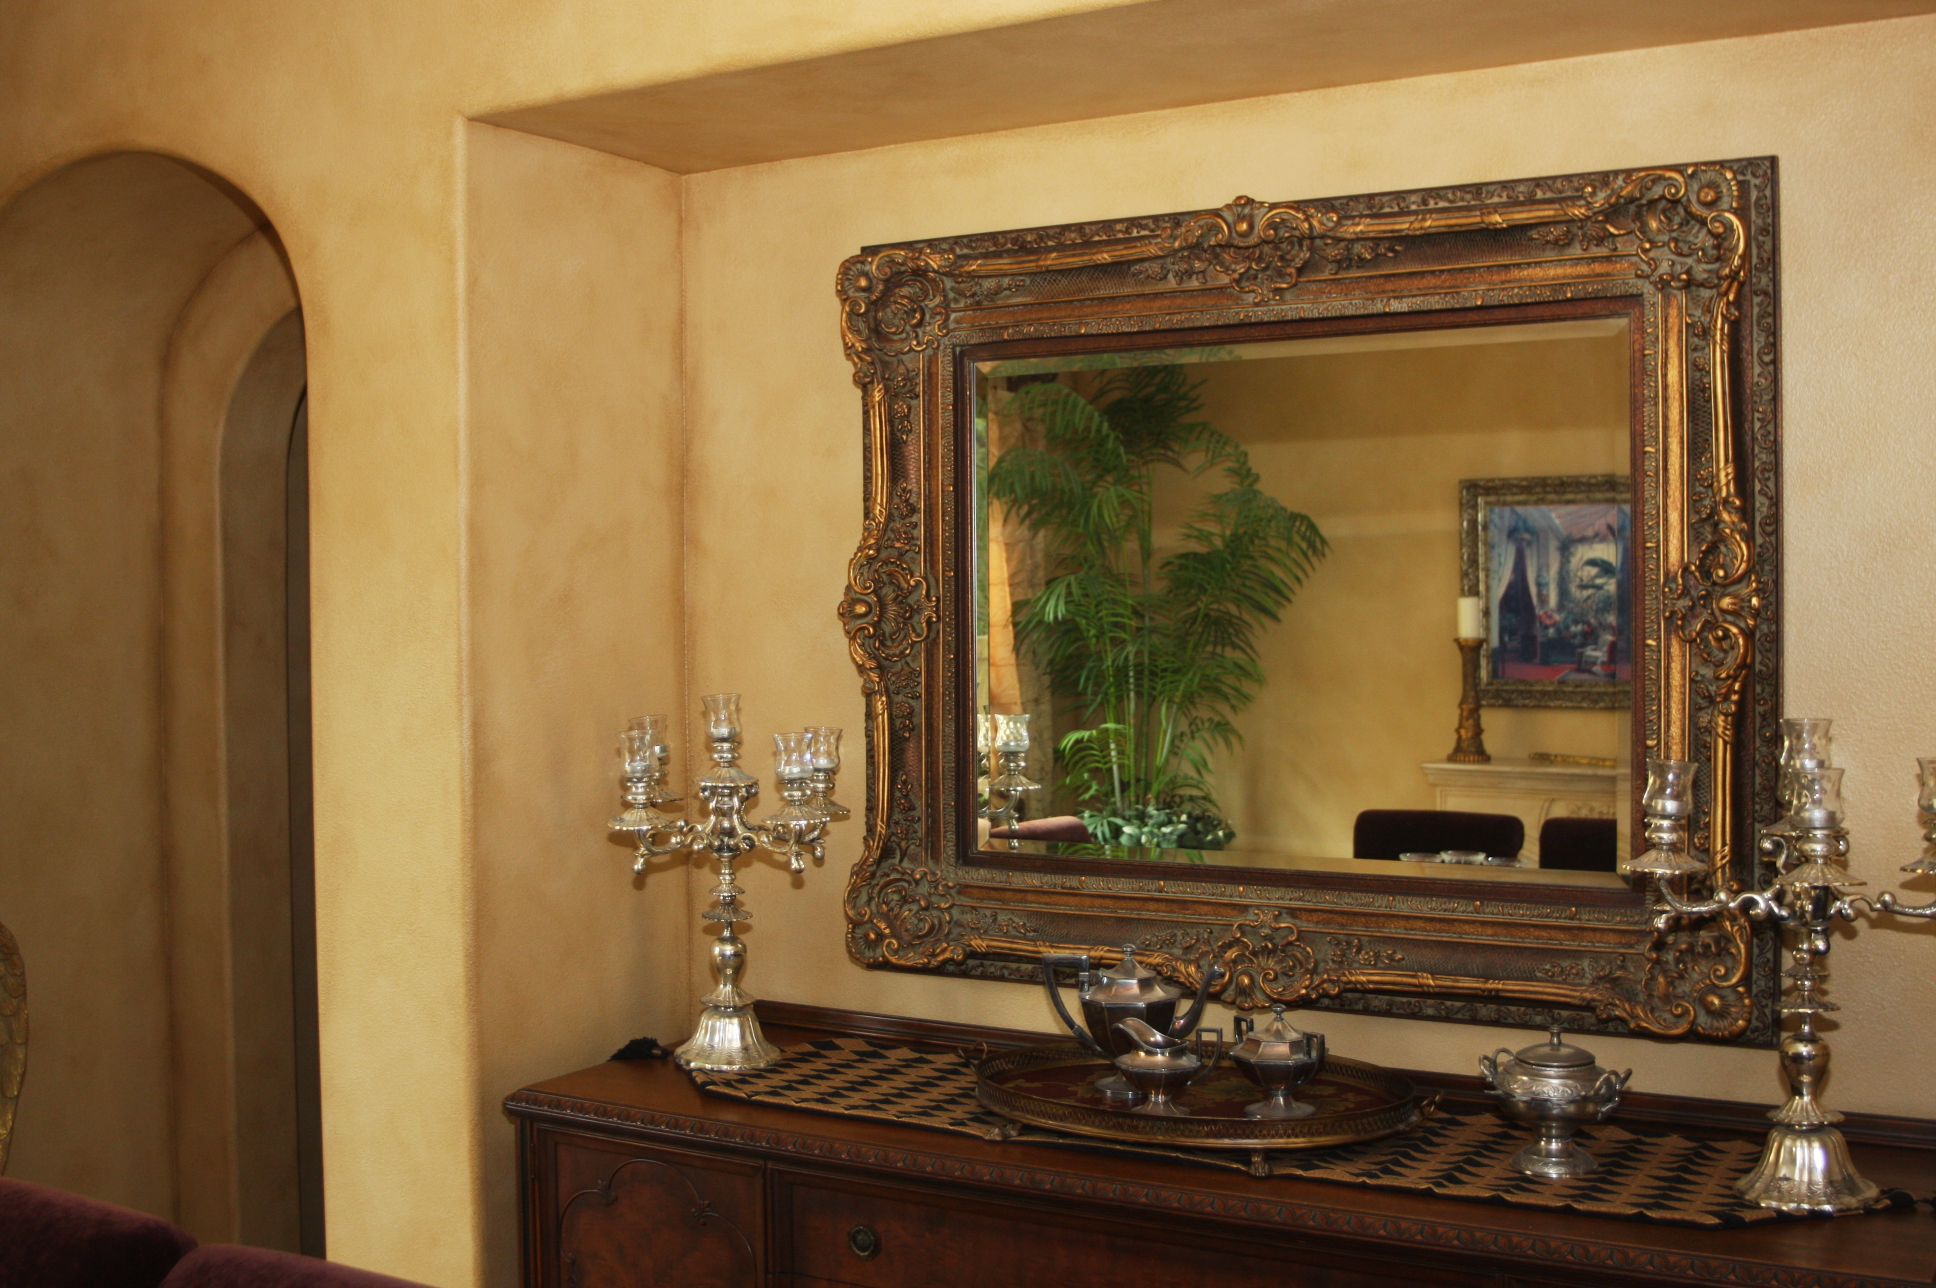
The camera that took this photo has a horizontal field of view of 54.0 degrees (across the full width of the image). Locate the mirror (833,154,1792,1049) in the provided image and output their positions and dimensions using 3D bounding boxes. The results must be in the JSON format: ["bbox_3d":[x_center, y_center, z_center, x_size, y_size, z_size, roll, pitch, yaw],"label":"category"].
[{"bbox_3d":[0.658,-0.079,4.392,2.500,1.920,0.133,0,1,40],"label":"mirror"}]

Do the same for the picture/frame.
[{"bbox_3d":[1.249,-0.113,4.065,0.554,0.603,0.045,0,-1,26],"label":"picture/frame"}]
